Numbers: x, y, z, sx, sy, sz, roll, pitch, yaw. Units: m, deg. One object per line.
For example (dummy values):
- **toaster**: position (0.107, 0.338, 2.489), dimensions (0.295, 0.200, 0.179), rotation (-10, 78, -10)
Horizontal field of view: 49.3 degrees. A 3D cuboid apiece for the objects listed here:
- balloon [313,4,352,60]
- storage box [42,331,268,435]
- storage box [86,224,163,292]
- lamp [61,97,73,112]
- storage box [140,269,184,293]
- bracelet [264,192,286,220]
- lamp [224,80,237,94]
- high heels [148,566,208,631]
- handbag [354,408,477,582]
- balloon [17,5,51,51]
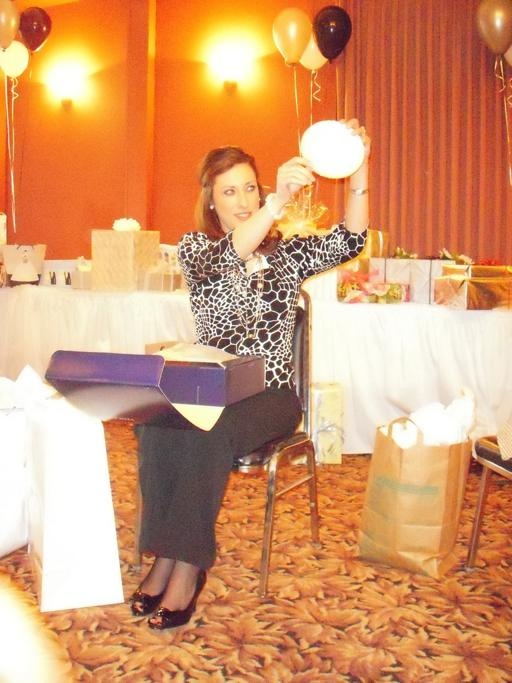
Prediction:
- **balloon**: position (0.514, -2.091, 3.776), dimensions (0.250, 0.296, 0.209), rotation (0, 2, -14)
- **storage box**: position (-0.145, 0.034, 0.961), dimensions (0.161, 0.106, 0.291), rotation (4, 10, 22)
- **storage box**: position (-0.689, -0.422, 2.911), dimensions (0.373, 0.288, 0.369), rotation (-5, 12, -18)
- **lamp**: position (-1.975, -2.493, 5.888), dimensions (0.112, 0.091, 0.127), rotation (1, 4, 2)
- **storage box**: position (-0.460, -0.290, 2.787), dimensions (0.125, 0.081, 0.127), rotation (4, 4, 45)
- **bracelet**: position (0.040, -0.295, 1.201), dimensions (0.022, 0.057, 0.044), rotation (-6, -6, -5)
- **lamp**: position (-0.233, -2.411, 5.279), dimensions (0.135, 0.130, 0.072), rotation (-1, 15, 2)
- **high heels**: position (-0.157, 0.550, 1.195), dimensions (0.055, 0.111, 0.150), rotation (19, 0, 39)
- **handbag**: position (0.424, 0.425, 1.517), dimensions (0.218, 0.359, 0.277), rotation (3, -6, 24)
- **balloon**: position (-1.776, -2.567, 4.505), dimensions (0.225, 0.387, 0.274), rotation (0, 2, -24)
